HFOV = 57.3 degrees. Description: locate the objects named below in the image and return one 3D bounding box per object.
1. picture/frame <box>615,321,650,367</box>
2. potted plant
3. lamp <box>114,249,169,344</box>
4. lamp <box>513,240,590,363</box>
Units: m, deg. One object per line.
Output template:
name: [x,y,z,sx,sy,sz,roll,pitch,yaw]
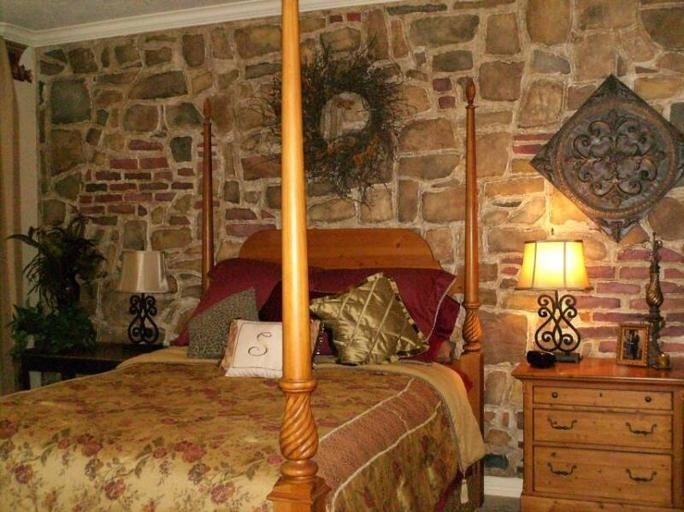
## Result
picture/frame: [1.780,0.549,3.832,0.262,0.354,0.049,0,-9,22]
potted plant: [-2.249,0.017,5.213,0.752,0.773,0.780,3,5,44]
lamp: [-1.459,0.324,4.828,0.390,0.744,0.397,-4,4,31]
lamp: [1.360,0.292,4.020,0.448,0.757,0.450,0,-10,20]
